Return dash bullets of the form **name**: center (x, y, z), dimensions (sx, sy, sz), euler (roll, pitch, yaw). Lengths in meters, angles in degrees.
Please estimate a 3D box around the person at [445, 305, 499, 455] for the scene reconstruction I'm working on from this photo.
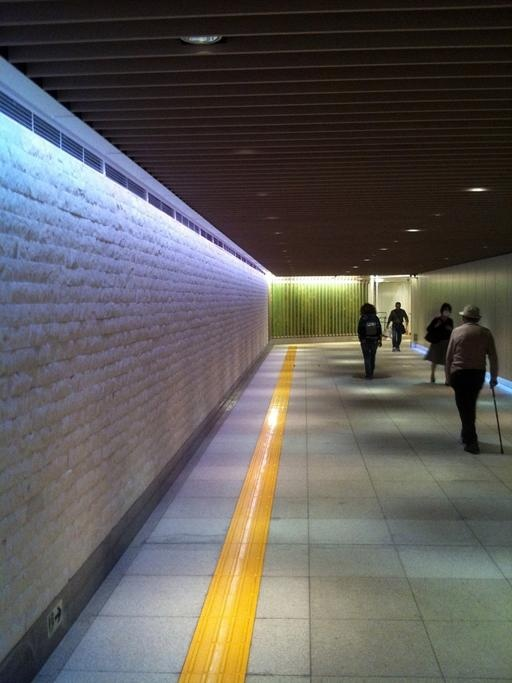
- **person**: center (2.656, 0.457, 5.629), dimensions (0.571, 1.810, 0.616), euler (-3, -2, 24)

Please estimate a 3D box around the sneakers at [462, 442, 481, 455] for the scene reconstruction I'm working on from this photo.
- **sneakers**: center (2.642, 1.312, 5.597), dimensions (0.163, 0.166, 0.105), euler (5, -15, -4)

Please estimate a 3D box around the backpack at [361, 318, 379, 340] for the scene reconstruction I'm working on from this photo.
- **backpack**: center (2.861, -0.293, 11.514), dimensions (0.494, 0.733, 0.396), euler (1, -8, 2)

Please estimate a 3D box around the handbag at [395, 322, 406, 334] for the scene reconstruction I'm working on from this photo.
- **handbag**: center (5.957, -0.585, 18.766), dimensions (0.494, 0.712, 0.407), euler (-1, -2, 21)
